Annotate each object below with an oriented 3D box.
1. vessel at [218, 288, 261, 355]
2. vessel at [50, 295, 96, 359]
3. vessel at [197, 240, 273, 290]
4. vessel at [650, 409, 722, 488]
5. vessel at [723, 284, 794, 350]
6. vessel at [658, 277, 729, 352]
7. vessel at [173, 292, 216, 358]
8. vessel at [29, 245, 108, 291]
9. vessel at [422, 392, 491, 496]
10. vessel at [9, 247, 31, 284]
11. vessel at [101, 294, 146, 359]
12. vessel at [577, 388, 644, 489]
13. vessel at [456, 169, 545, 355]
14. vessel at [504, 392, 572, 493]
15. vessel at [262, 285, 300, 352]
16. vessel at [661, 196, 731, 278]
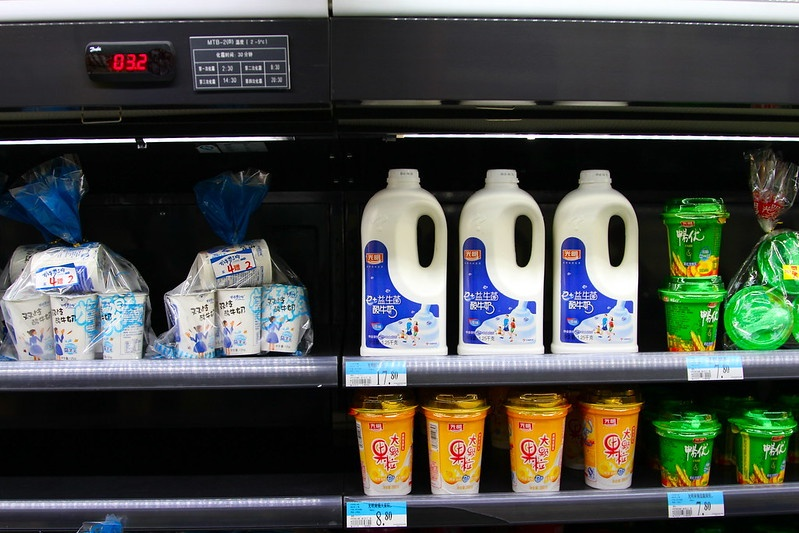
[{"bbox_3d":[-0.508,0.181,2.293,0.156,0.208,0.177,7,-12,-41],"label":"vessel"},{"bbox_3d":[-1.025,0.190,2.201,0.143,0.210,0.050,-9,9,-20],"label":"vessel"},{"bbox_3d":[-0.534,0.004,2.247,0.267,0.171,0.165,-3,46,-13],"label":"vessel"},{"bbox_3d":[0.941,0.614,2.316,0.235,0.212,0.231,5,-7,-23],"label":"vessel"},{"bbox_3d":[1.158,0.156,2.268,0.209,0.197,0.073,-7,0,4],"label":"vessel"},{"bbox_3d":[0.936,0.146,2.279,0.236,0.259,0.241,-2,-1,17],"label":"vessel"},{"bbox_3d":[-0.674,0.186,2.268,0.164,0.208,0.155,-2,1,-40],"label":"vessel"},{"bbox_3d":[-1.068,0.013,2.250,0.256,0.162,0.156,-1,-17,-5],"label":"vessel"},{"bbox_3d":[0.167,0.582,2.352,0.299,0.348,0.289,-1,-4,5],"label":"vessel"},{"bbox_3d":[-1.265,-0.001,2.295,0.038,0.097,0.108,10,5,9],"label":"vessel"},{"bbox_3d":[-0.912,0.190,2.262,0.160,0.210,0.156,-1,-2,1],"label":"vessel"},{"bbox_3d":[0.696,0.572,2.316,0.265,0.287,0.256,2,-2,-5],"label":"vessel"},{"bbox_3d":[0.315,-0.013,2.243,0.298,0.589,0.154,-4,9,9],"label":"vessel"},{"bbox_3d":[0.398,0.574,2.358,0.291,0.342,0.285,-1,-2,4],"label":"vessel"},{"bbox_3d":[-0.391,0.172,2.264,0.149,0.227,0.052,-7,9,-8],"label":"vessel"},{"bbox_3d":[0.957,-0.079,2.297,0.264,0.281,0.243,2,-5,-36],"label":"vessel"}]
